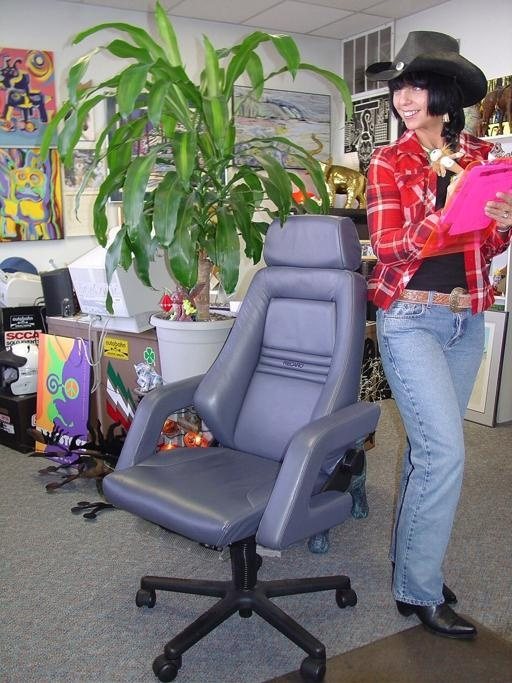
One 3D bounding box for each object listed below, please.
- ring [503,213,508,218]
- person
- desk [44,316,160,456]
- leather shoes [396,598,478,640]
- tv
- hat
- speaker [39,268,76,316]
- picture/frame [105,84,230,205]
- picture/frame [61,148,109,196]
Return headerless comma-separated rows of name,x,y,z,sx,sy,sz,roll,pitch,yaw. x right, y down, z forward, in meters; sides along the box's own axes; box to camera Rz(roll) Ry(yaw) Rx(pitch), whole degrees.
ring,0.505,-0.253,0.997,0.008,0.008,0.002,-1,3,5
person,0.437,0.039,1.200,0.345,1.544,0.501,1,5,11
desk,-0.909,0.236,2.670,0.379,0.628,0.698,-2,-6,22
leather shoes,0.487,0.733,1.370,0.217,0.097,0.076,-6,-2,43
tv,-0.671,-0.279,2.409,0.395,0.409,0.299,5,15,39
hat,0.392,-0.636,1.139,0.289,0.125,0.201,-5,20,-38
speaker,-1.160,-0.295,2.898,0.186,0.292,0.215,-20,35,-36
picture/frame,-0.347,-0.818,2.098,0.646,0.025,0.746,6,-17,1
picture/frame,-1.411,-1.432,4.058,0.361,0.413,0.037,-15,56,-32
